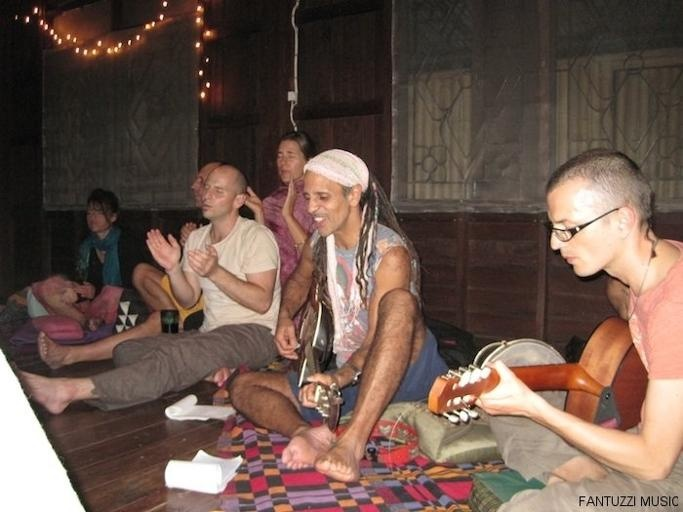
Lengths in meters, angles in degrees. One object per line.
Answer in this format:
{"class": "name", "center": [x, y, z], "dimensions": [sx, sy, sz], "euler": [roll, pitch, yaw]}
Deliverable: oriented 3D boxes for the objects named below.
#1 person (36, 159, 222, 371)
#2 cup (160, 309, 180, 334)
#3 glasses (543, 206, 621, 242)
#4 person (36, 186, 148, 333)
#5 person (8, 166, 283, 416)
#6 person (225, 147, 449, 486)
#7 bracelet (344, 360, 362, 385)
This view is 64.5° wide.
{"class": "person", "center": [-1.757, 0.182, 4.179], "dimensions": [0.918, 1.340, 2.211], "euler": [7, 2, -33]}
{"class": "cup", "center": [-1.183, 0.459, 3.746], "dimensions": [0.141, 0.164, 0.143], "euler": [1, -6, 0]}
{"class": "glasses", "center": [0.865, -0.107, 1.995], "dimensions": [0.139, 0.038, 0.136], "euler": [-24, 9, -1]}
{"class": "person", "center": [-2.473, 0.016, 5.285], "dimensions": [0.909, 1.297, 1.164], "euler": [1, 1, -6]}
{"class": "person", "center": [-1.060, 0.137, 3.281], "dimensions": [0.731, 1.394, 1.718], "euler": [-3, -1, 33]}
{"class": "person", "center": [-0.030, 0.170, 2.719], "dimensions": [1.000, 1.471, 1.311], "euler": [-1, -3, -9]}
{"class": "bracelet", "center": [0.052, 0.546, 2.533], "dimensions": [0.024, 0.110, 0.076], "euler": [8, -4, -29]}
